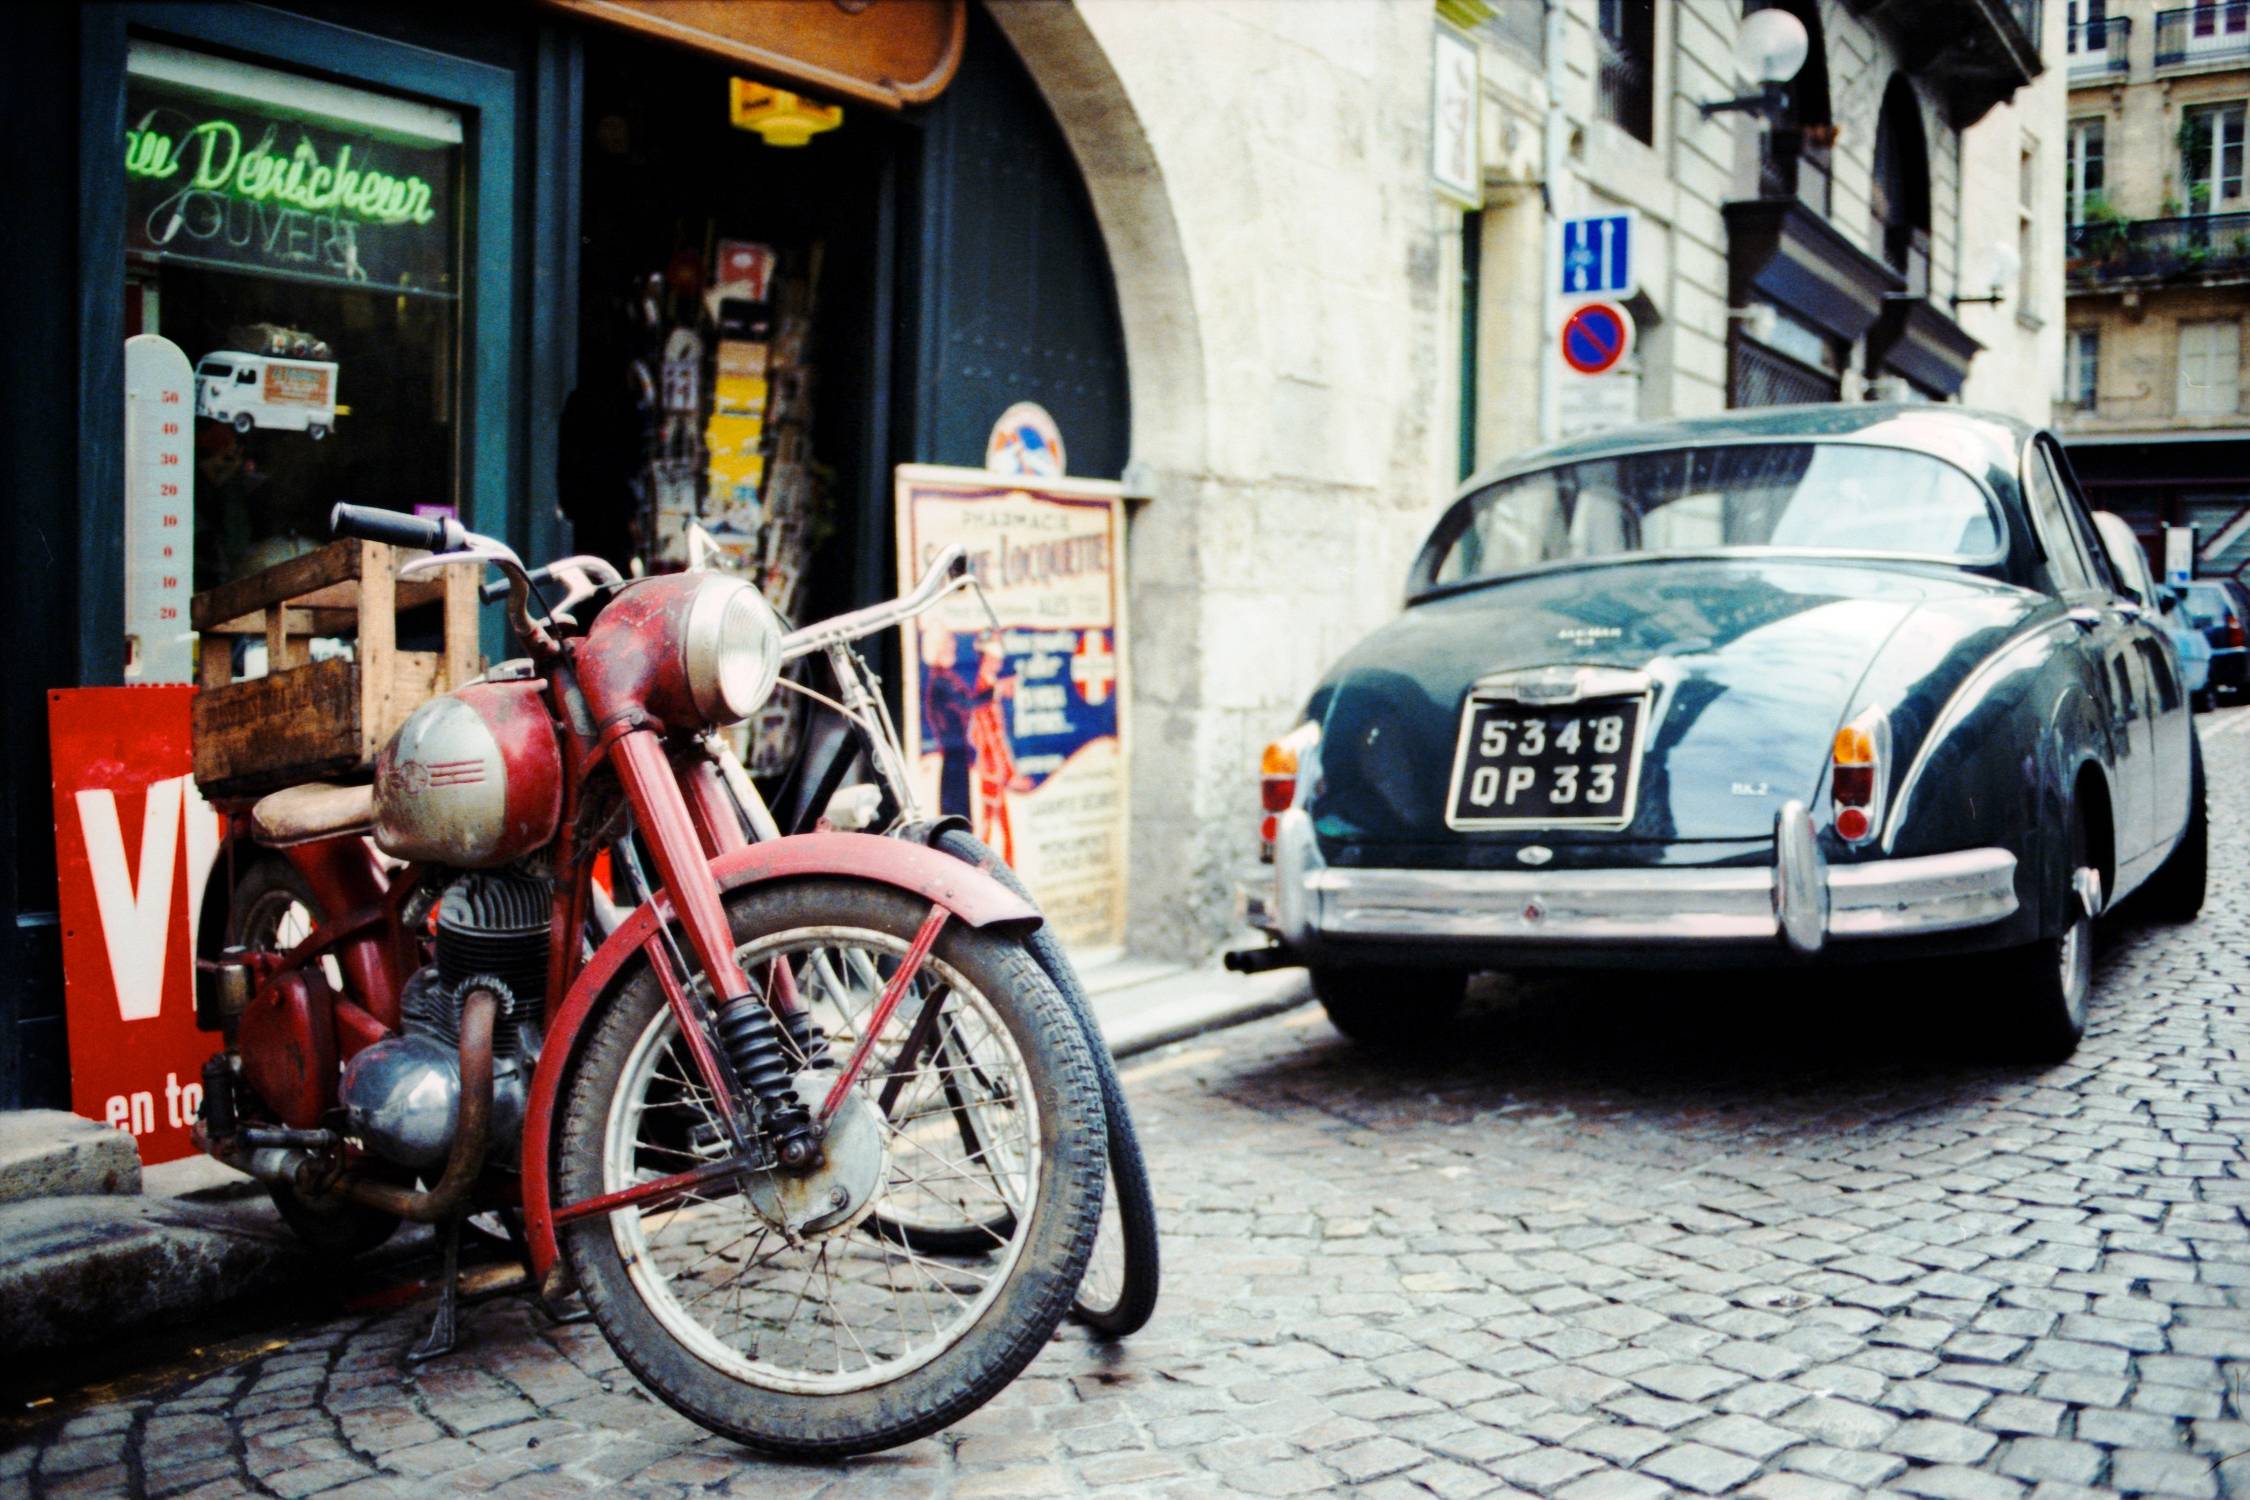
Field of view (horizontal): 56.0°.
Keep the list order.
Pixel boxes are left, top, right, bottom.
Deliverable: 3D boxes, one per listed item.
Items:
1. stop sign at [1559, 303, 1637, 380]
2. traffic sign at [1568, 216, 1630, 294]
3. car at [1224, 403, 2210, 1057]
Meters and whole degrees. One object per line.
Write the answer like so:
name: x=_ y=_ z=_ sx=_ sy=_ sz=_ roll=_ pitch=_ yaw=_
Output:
stop sign: x=2.847 y=-2.474 z=12.743 sx=0.529 sy=0.422 sz=0.326 roll=9 pitch=15 yaw=40
traffic sign: x=3.046 y=-3.133 z=13.449 sx=0.081 sy=0.490 sz=0.461 roll=-5 pitch=-5 yaw=-40
car: x=2.387 y=-0.067 z=7.747 sx=3.712 sy=2.287 sz=2.129 roll=-9 pitch=14 yaw=-33
